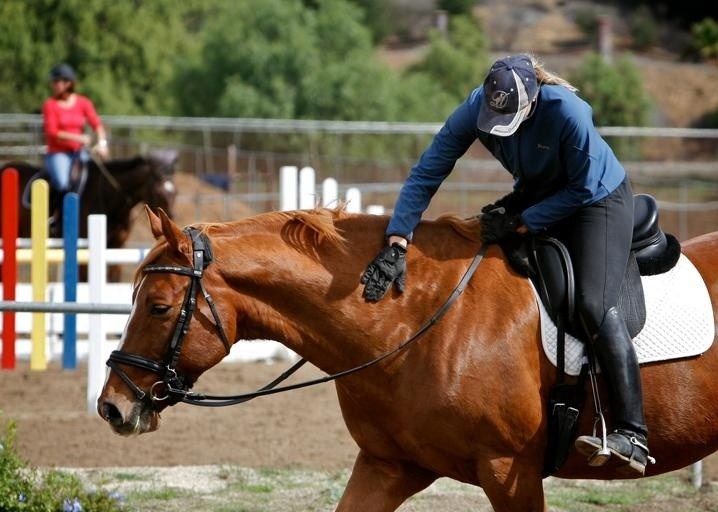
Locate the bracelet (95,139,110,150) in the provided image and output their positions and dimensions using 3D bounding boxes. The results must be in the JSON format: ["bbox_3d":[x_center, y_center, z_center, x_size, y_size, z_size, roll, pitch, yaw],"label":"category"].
[{"bbox_3d":[-5.069,-2.184,32.183,0.204,0.222,0.197,4,0,-5],"label":"bracelet"}]

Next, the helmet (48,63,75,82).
[{"bbox_3d":[-5.897,-3.634,32.420,0.408,0.370,0.316,31,33,32],"label":"helmet"}]
